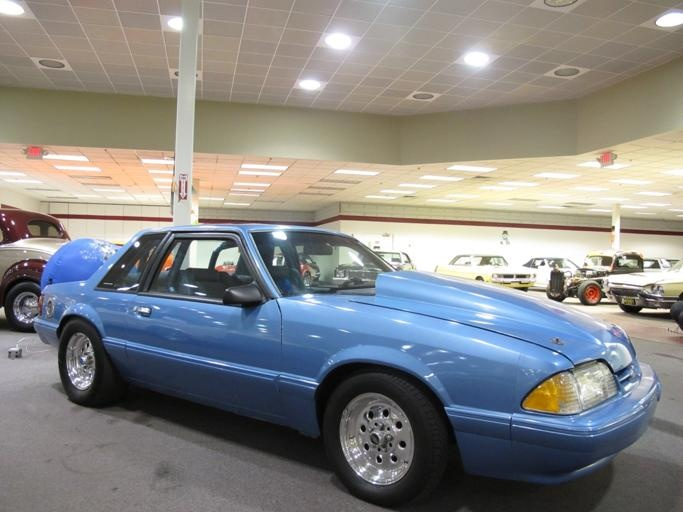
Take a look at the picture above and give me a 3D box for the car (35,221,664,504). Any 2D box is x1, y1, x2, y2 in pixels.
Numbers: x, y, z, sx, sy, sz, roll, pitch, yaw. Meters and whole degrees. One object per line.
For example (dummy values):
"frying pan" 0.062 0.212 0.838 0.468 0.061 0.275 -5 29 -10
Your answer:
"car" -0.460 0.693 3.482 4.581 1.184 1.980 1 1 31

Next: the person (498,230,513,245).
"person" 11.001 -1.233 28.289 1.134 1.068 0.433 0 8 -4

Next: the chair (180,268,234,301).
"chair" -1.082 0.214 3.317 0.338 0.277 0.271 7 19 -6
